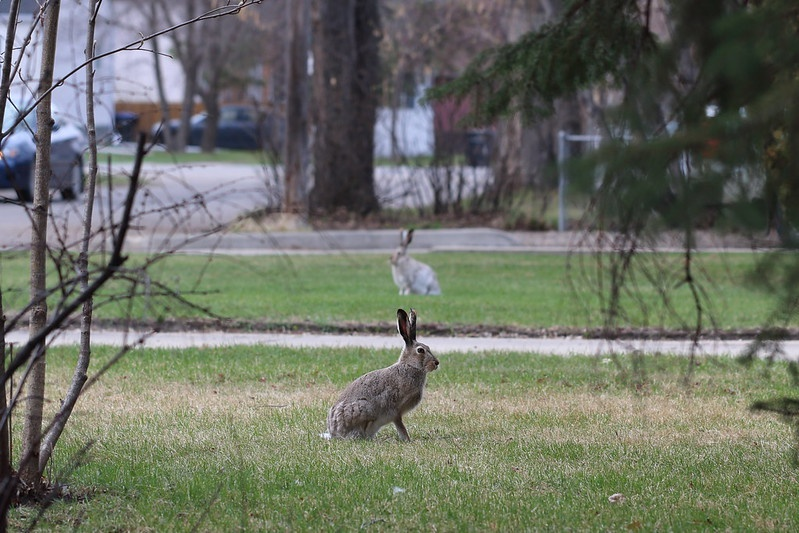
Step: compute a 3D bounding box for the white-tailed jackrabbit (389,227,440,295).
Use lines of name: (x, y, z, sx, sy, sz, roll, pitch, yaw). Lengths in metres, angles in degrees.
white-tailed jackrabbit: (0.194, 0.078, 24.169, 0.506, 0.821, 1.266, 2, 8, 17)
